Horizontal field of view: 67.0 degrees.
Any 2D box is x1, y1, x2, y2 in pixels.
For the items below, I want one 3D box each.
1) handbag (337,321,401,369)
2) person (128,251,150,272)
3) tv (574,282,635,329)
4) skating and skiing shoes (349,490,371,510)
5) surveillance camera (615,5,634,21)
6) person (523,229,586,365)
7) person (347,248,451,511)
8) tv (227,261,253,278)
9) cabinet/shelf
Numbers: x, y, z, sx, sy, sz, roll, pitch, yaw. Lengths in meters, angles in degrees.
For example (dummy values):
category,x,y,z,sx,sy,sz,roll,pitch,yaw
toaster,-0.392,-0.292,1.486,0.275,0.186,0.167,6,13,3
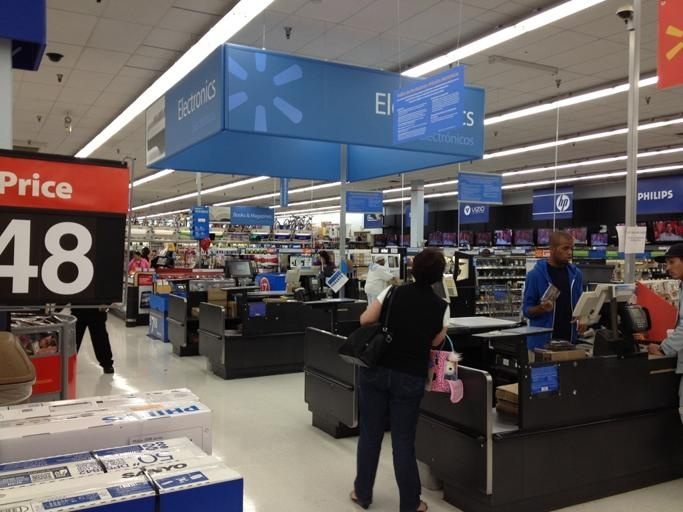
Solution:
category,x,y,z,sx,sy,sz,roll,pitch,yaw
handbag,0.169,0.640,3.702,0.394,0.316,0.184,1,2,12
person,-5.149,0.167,13.322,0.434,0.510,1.045,-1,3,-24
tv,2.086,0.364,4.177,0.586,0.407,0.315,-3,10,-32
skating and skiing shoes,0.138,1.866,3.981,0.072,0.052,0.183,13,3,-23
surveillance camera,2.588,-2.237,4.779,0.146,0.076,0.213,4,-7,9
person,1.946,0.288,4.667,0.629,1.001,0.420,-1,2,-26
person,0.427,0.929,3.744,0.659,1.950,0.267,0,2,5
tv,-2.131,0.277,10.943,0.590,0.452,0.318,1,-4,-32
cabinet/shelf,3.541,0.696,10.904,0.533,1.330,1.333,7,-6,-34
